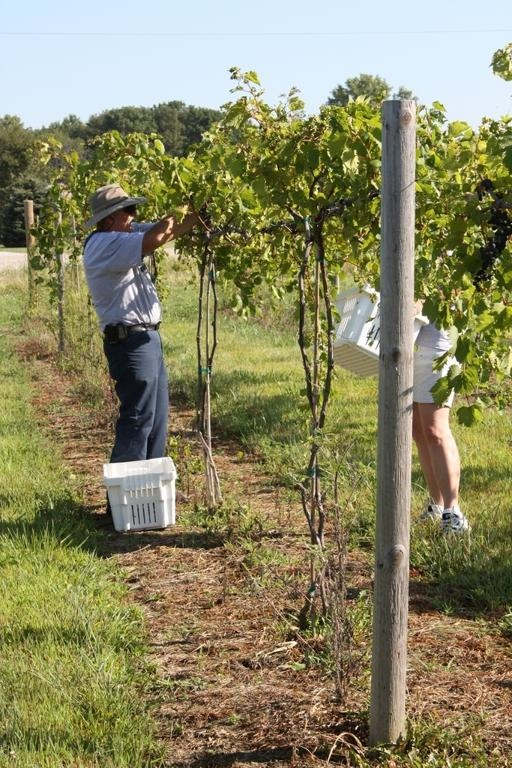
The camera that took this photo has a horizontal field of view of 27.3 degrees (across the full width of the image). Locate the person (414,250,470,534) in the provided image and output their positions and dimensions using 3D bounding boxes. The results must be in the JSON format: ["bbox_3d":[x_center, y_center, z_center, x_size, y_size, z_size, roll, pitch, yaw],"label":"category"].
[{"bbox_3d":[0.882,0.160,5.058,0.247,1.095,0.560,-2,14,8],"label":"person"}]

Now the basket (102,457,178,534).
[{"bbox_3d":[-0.589,0.582,5.444,0.358,0.357,0.336,-6,13,-8],"label":"basket"}]

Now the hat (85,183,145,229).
[{"bbox_3d":[-0.722,-0.915,5.404,0.327,0.203,0.328,-4,13,-2],"label":"hat"}]

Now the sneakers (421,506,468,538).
[{"bbox_3d":[0.940,0.658,5.090,0.090,0.093,0.235,5,-2,29],"label":"sneakers"}]
